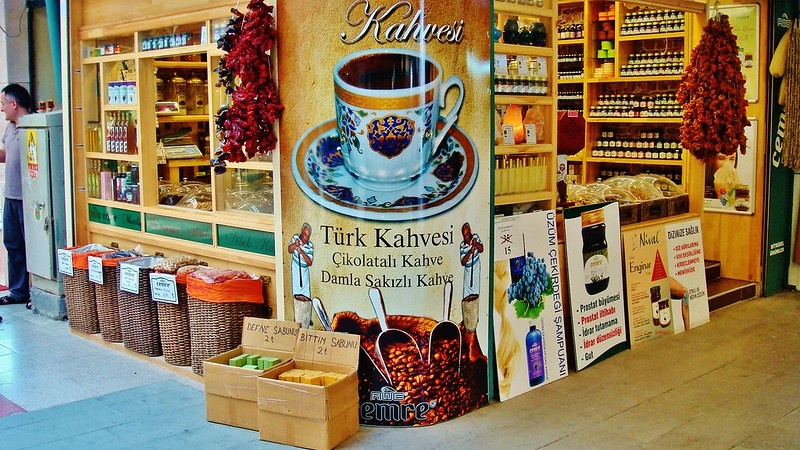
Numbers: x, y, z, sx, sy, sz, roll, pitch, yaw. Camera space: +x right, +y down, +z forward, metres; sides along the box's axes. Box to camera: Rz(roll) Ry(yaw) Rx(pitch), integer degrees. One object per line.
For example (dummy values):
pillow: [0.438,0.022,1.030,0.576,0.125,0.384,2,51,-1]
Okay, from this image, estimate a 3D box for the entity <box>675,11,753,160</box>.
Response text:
entity: [4.120,-1.774,7.591,0.816,1.875,0.464,-3,11,1]

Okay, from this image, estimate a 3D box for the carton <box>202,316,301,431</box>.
carton: [-1.502,1.512,6.029,0.720,0.904,0.726,4,8,23]

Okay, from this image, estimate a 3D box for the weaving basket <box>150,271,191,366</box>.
weaving basket: [-2.620,1.072,6.713,0.239,1.060,0.516,-13,16,-42]
